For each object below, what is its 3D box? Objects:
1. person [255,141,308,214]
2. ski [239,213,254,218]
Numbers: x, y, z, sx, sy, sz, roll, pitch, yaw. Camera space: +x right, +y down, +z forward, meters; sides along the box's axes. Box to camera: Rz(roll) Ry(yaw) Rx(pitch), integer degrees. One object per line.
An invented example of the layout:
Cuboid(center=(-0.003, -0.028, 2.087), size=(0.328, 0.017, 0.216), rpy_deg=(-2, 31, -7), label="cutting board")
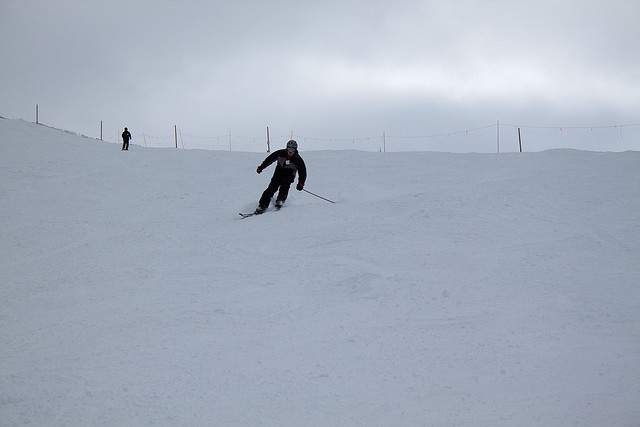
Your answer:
Cuboid(center=(-0.930, -0.850, 19.162), size=(1.124, 1.716, 1.258), rpy_deg=(2, 2, -4), label="person")
Cuboid(center=(-1.660, 0.055, 18.492), size=(0.306, 0.050, 0.427), rpy_deg=(2, 2, -13), label="ski")
